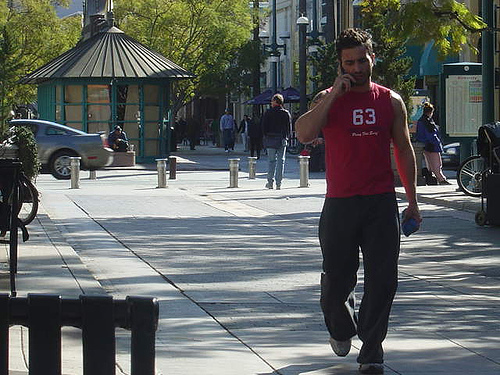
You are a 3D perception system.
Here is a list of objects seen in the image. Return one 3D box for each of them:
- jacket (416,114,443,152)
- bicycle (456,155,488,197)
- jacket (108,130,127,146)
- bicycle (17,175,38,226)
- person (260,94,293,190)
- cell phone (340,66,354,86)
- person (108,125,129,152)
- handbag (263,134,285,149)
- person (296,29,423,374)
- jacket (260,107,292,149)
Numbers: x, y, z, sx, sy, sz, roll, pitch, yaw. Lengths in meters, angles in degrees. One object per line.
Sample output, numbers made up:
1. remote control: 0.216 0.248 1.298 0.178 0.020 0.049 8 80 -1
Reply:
1. jacket: 4.286 -1.373 22.323 0.576 0.938 1.002 -6 12 -6
2. bicycle: 4.372 -0.252 19.159 0.849 0.921 0.864 5 -2 19
3. jacket: -4.428 -1.732 31.615 0.742 0.696 0.450 -6 3 -32
4. bicycle: -2.967 0.186 12.315 0.147 0.643 0.563 5 -6 16
5. person: 0.603 -1.076 21.514 0.702 2.163 0.670 1 2 -16
6. cell phone: 0.675 -0.818 6.705 0.108 0.114 0.028 18 -48 -39
7. person: -4.497 -1.569 31.727 0.737 1.069 0.803 1 21 2
8. handbag: 0.567 -1.065 21.325 0.422 0.287 0.324 0 1 4
9. person: 0.790 0.100 6.820 0.903 2.529 0.447 0 3 3
10. jacket: 0.610 -1.381 21.495 0.633 0.969 0.761 0 4 0
